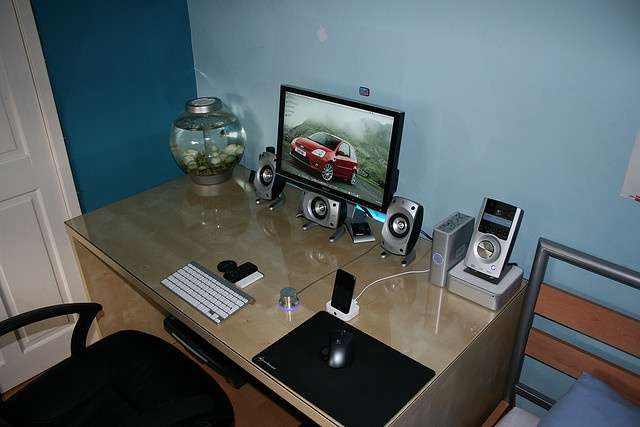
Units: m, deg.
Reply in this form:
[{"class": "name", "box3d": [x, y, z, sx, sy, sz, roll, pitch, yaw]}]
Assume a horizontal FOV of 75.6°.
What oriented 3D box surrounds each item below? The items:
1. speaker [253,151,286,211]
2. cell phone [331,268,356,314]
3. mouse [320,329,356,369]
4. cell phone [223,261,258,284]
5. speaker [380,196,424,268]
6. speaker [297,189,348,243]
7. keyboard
[{"class": "speaker", "box3d": [-0.264, -0.205, 2.327, 0.216, 0.323, 0.188, 14, 16, 41]}, {"class": "cell phone", "box3d": [0.095, 0.323, 1.681, 0.123, 0.216, 0.022, 21, 17, 37]}, {"class": "mouse", "box3d": [0.076, 0.499, 1.568, 0.136, 0.050, 0.177, 7, 35, 16]}, {"class": "cell phone", "box3d": [-0.360, 0.261, 1.852, 0.129, 0.030, 0.070, -27, 42, -35]}, {"class": "speaker", "box3d": [0.383, 0.074, 1.930, 0.155, 0.287, 0.167, 19, 27, 42]}, {"class": "speaker", "box3d": [0.031, -0.019, 2.159, 0.261, 0.238, 0.177, 20, 29, 28]}, {"class": "keyboard", "box3d": [-0.499, 0.342, 1.809, 0.430, 0.066, 0.247, 26, 32, 36]}]
